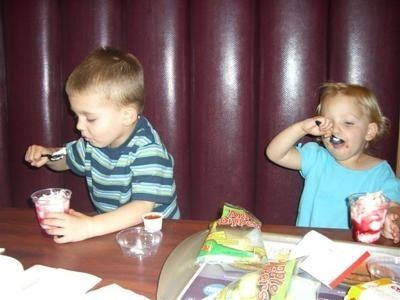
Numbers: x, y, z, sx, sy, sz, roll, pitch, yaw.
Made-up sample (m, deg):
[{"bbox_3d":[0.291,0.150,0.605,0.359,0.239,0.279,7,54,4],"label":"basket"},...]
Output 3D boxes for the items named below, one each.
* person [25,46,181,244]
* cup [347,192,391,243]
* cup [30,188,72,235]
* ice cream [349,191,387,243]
[{"bbox_3d":[-0.346,-0.003,1.239,0.446,0.817,0.409,4,8,29],"label":"person"},{"bbox_3d":[0.486,0.186,1.024,0.114,0.134,0.112,1,9,0],"label":"cup"},{"bbox_3d":[-0.442,0.186,1.065,0.112,0.114,0.136,0,2,-18],"label":"cup"},{"bbox_3d":[0.479,0.186,1.026,0.106,0.136,0.110,5,11,19],"label":"ice cream"}]
